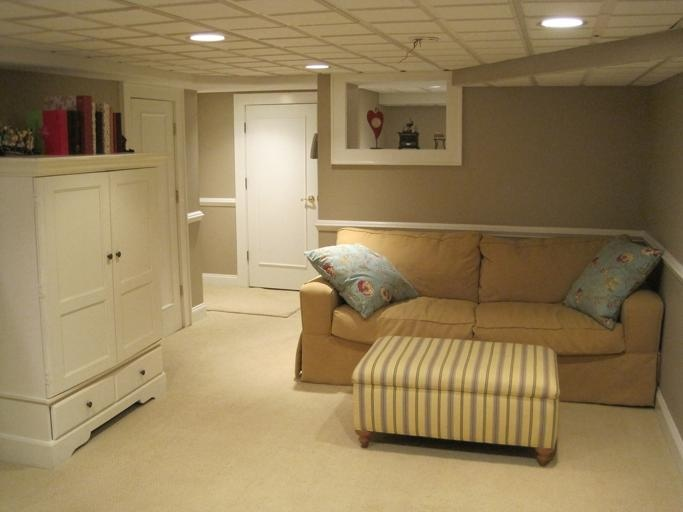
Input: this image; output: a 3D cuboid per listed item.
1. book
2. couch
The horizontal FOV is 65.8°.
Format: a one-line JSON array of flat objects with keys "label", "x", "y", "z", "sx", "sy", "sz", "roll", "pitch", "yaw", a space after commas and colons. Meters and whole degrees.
[{"label": "book", "x": -1.785, "y": -0.851, "z": 3.467, "sx": 0.472, "sy": 0.452, "sz": 0.273, "roll": -3, "pitch": -7, "yaw": 5}, {"label": "couch", "x": 1.066, "y": 0.405, "z": 4.299, "sx": 2.590, "sy": 1.101, "sz": 1.106, "roll": 2, "pitch": 14, "yaw": 14}]
